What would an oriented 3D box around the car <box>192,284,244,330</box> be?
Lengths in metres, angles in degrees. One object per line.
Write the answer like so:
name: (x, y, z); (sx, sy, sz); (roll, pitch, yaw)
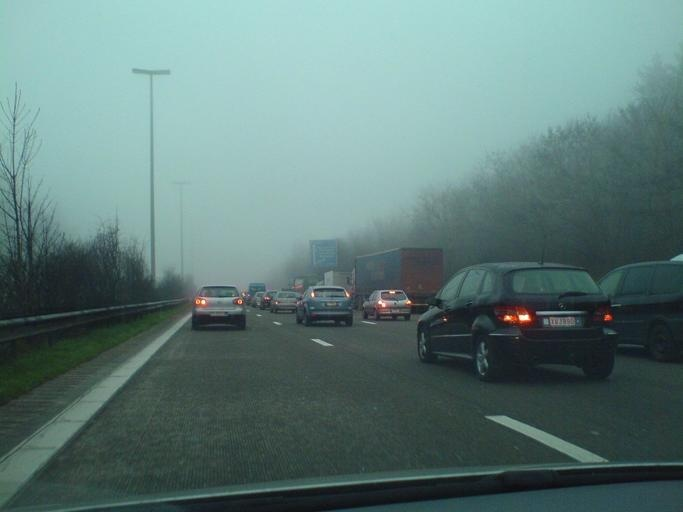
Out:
car: (-3.977, 1.672, 24.626); (1.650, 1.361, 0.904); (-1, 1, -14)
